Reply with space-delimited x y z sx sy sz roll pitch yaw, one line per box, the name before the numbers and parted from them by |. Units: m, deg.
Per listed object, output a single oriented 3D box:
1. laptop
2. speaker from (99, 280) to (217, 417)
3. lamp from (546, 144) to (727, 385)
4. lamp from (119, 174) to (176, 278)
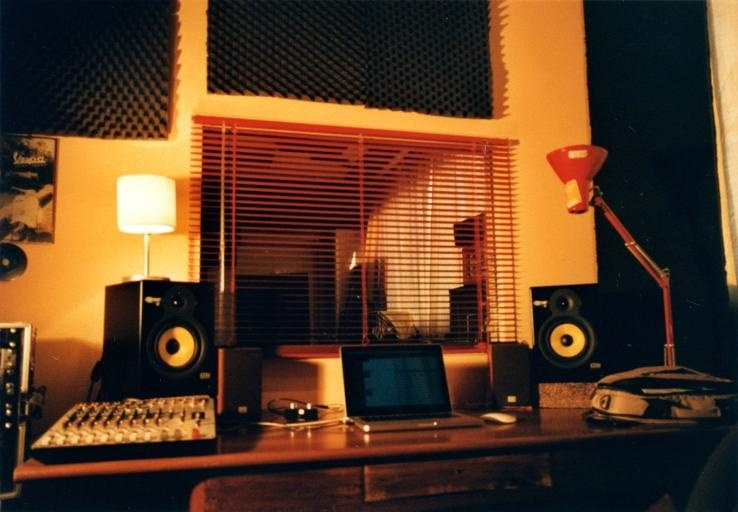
laptop | 0.135 0.642 3.727 0.526 0.295 0.432 2 -8 -17
speaker | -1.037 0.421 3.718 0.468 0.784 0.668 8 -15 -44
lamp | 1.503 -0.117 4.798 1.227 1.688 0.752 -10 -9 43
lamp | -1.126 -0.148 3.817 0.285 0.531 0.373 0 -2 -14
